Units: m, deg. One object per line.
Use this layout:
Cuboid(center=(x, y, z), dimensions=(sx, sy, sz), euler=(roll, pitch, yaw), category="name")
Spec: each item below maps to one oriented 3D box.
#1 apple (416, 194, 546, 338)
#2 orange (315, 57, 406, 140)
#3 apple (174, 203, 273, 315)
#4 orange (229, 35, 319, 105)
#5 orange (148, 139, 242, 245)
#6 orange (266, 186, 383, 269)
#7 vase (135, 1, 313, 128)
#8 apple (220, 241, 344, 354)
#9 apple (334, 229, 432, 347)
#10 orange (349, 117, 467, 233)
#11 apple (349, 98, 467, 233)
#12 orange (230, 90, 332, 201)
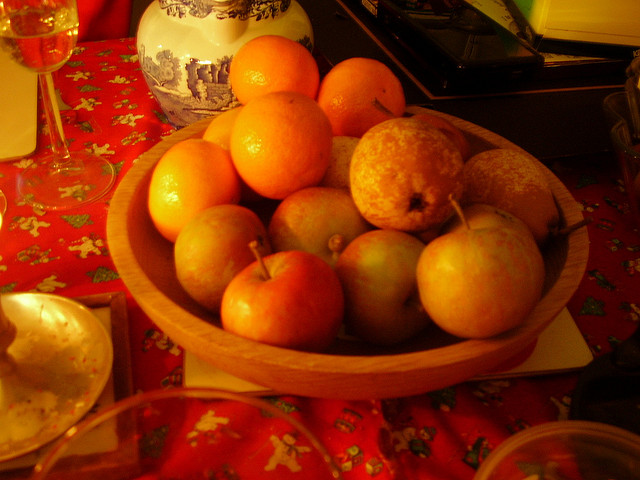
Cuboid(center=(0.174, 0.016, 0.576), dimensions=(0.124, 0.171, 0.116), euler=(-20, 17, -34), category="apple")
Cuboid(center=(0.050, -0.205, 0.767), dimensions=(0.102, 0.125, 0.101), euler=(-17, 27, -34), category="orange")
Cuboid(center=(-0.119, 0.013, 0.665), dimensions=(0.102, 0.113, 0.123), euler=(18, 75, 12), category="apple")
Cuboid(center=(-0.064, -0.234, 0.721), dimensions=(0.107, 0.108, 0.095), euler=(1, 19, -22), category="orange")
Cuboid(center=(-0.151, -0.075, 0.726), dimensions=(0.116, 0.161, 0.118), euler=(7, 6, 11), category="orange")
Cuboid(center=(-0.001, -0.022, 0.590), dimensions=(0.096, 0.060, 0.112), euler=(-10, 76, -7), category="orange")
Cuboid(center=(-0.180, -0.294, 0.914), dimensions=(0.193, 0.257, 0.215), euler=(-8, 24, -14), category="vase")
Cuboid(center=(-0.043, 0.040, 0.605), dimensions=(0.109, 0.131, 0.118), euler=(-2, 8, 27), category="apple")
Cuboid(center=(0.056, 0.056, 0.664), dimensions=(0.135, 0.158, 0.154), euler=(2, 13, -5), category="apple")
Cuboid(center=(0.088, -0.072, 0.661), dimensions=(0.112, 0.143, 0.137), euler=(-1, 21, -9), category="orange")
Cuboid(center=(0.110, -0.079, 0.679), dimensions=(0.111, 0.124, 0.158), euler=(11, 61, -35), category="apple")
Cuboid(center=(-0.048, -0.121, 0.709), dimensions=(0.137, 0.141, 0.157), euler=(5, 57, -7), category="orange")
